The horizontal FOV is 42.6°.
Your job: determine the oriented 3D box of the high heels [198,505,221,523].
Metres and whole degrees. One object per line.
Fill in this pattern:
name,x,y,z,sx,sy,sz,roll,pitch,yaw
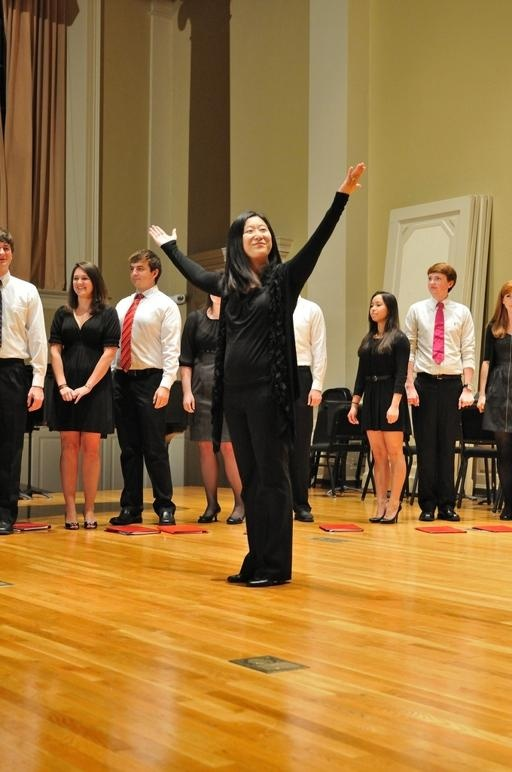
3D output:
high heels,-0.312,0.879,4.451,0.062,0.109,0.202,-6,-21,14

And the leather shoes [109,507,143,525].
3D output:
leather shoes,-0.845,0.865,4.301,0.084,0.126,0.257,-9,-15,34

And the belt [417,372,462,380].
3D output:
belt,1.302,-0.066,4.669,0.302,0.062,0.084,-3,-7,17

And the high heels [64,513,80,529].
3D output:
high heels,-1.153,0.856,4.106,0.060,0.084,0.194,2,-14,-17

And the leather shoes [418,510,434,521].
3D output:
leather shoes,1.200,0.916,4.586,0.045,0.071,0.162,-1,-16,3

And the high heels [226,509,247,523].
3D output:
high heels,-0.133,0.891,4.406,0.091,0.083,0.196,-2,-12,8

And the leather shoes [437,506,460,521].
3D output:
leather shoes,1.372,0.933,4.686,0.058,0.088,0.185,2,-12,-16

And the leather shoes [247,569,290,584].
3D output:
leather shoes,0.046,0.701,2.420,0.152,0.076,0.059,7,-16,-26

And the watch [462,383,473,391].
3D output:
watch,1.506,0.012,4.633,0.017,0.048,0.044,16,-7,-14

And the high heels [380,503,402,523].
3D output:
high heels,0.918,0.887,4.459,0.196,0.165,0.091,6,-11,-31

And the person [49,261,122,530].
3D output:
person,-1.082,0.063,4.146,0.426,1.669,0.389,1,-6,-18

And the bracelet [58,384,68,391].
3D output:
bracelet,-1.176,0.013,3.992,0.034,0.030,0.036,-4,-3,23

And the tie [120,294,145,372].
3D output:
tie,-0.824,-0.355,4.287,0.110,0.537,0.148,-3,-6,25

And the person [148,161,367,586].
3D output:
person,0.034,0.043,2.466,0.771,1.395,0.258,-4,-7,30

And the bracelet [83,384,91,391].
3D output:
bracelet,-1.017,0.014,3.972,0.032,0.040,0.015,6,-39,1

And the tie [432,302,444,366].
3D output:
tie,1.307,-0.377,4.681,0.088,0.475,0.134,-4,-7,30
